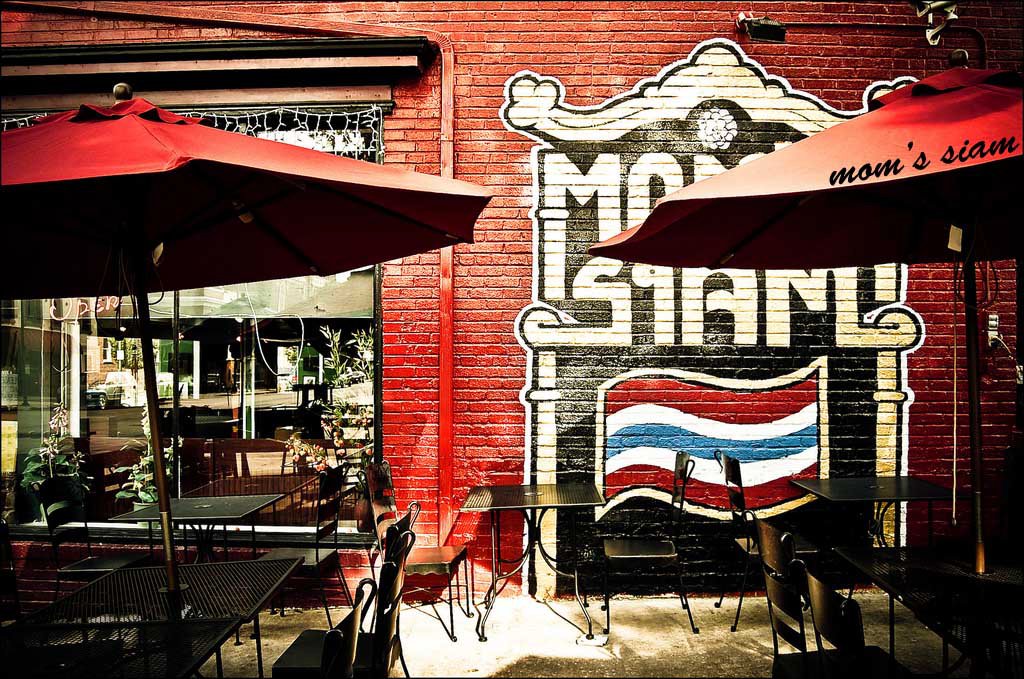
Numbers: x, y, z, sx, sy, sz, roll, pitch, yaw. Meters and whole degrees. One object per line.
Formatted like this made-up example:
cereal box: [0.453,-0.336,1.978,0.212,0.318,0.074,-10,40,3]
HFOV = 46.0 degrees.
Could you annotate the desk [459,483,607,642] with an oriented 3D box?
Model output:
desk: [0.129,1.913,10.655,1.382,1.139,1.273,-1,-1,0]
